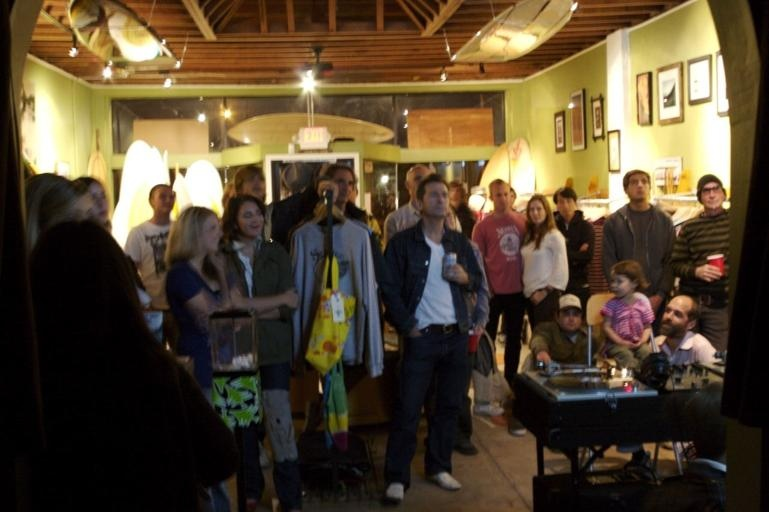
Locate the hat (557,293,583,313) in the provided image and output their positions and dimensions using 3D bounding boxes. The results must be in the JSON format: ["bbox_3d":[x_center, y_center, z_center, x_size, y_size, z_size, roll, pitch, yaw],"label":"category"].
[{"bbox_3d":[1.368,0.334,4.715,0.146,0.104,0.163,0,3,12],"label":"hat"}]

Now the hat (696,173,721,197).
[{"bbox_3d":[2.488,-0.555,4.935,0.148,0.134,0.200,2,-15,2],"label":"hat"}]

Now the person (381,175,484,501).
[{"bbox_3d":[0.311,0.609,4.103,0.673,1.758,0.460,-1,2,-6],"label":"person"}]

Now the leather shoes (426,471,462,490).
[{"bbox_3d":[0.395,1.430,4.144,0.183,0.083,0.089,0,1,42],"label":"leather shoes"}]

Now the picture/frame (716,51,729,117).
[{"bbox_3d":[3.772,-1.937,7.155,0.102,0.741,0.384,0,3,26],"label":"picture/frame"}]

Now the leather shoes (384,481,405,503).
[{"bbox_3d":[0.065,1.447,3.945,0.067,0.066,0.143,1,1,6],"label":"leather shoes"}]

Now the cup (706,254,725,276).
[{"bbox_3d":[2.421,0.066,4.721,0.125,0.157,0.133,-3,1,0],"label":"cup"}]

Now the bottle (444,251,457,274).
[{"bbox_3d":[0.412,0.034,4.099,0.087,0.164,0.095,1,-2,0],"label":"bottle"}]

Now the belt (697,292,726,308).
[{"bbox_3d":[2.434,0.326,4.739,0.124,0.062,0.093,6,-2,-13],"label":"belt"}]

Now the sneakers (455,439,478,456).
[{"bbox_3d":[0.599,1.366,4.632,0.148,0.167,0.088,-2,1,18],"label":"sneakers"}]
